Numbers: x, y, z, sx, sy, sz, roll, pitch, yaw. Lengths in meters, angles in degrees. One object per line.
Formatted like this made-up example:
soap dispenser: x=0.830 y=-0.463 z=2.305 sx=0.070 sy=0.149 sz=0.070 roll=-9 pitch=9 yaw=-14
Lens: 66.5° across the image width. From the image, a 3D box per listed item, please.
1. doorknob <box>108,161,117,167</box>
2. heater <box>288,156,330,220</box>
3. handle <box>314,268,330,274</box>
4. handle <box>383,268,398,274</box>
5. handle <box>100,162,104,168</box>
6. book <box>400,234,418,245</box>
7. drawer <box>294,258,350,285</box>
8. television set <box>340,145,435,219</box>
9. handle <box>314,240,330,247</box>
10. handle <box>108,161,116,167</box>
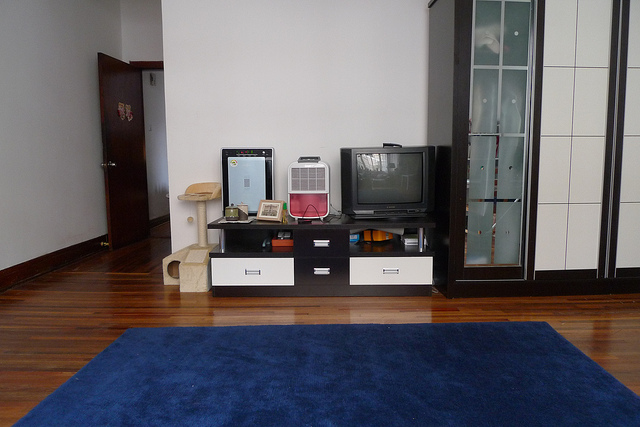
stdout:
doorknob: x=-2.769 y=-0.655 z=6.526 sx=0.039 sy=0.080 sz=0.147 roll=0 pitch=8 yaw=10
heater: x=-0.112 y=-0.278 z=5.252 sx=0.405 sy=0.649 sz=0.375 roll=4 pitch=8 yaw=4
handle: x=0.012 y=0.577 z=4.903 sx=0.089 sy=0.033 sz=0.066 roll=3 pitch=17 yaw=0
handle: x=0.700 y=0.577 z=4.900 sx=0.145 sy=0.061 sz=0.009 roll=-2 pitch=8 yaw=-2
handle: x=-2.895 y=-0.651 z=6.493 sx=0.038 sy=0.016 sz=0.052 roll=-1 pitch=2 yaw=0
book: x=0.937 y=0.277 z=5.151 sx=0.156 sy=0.079 sz=0.142 roll=-1 pitch=8 yaw=6
drawer: x=0.014 y=0.581 z=4.907 sx=0.530 sy=0.259 sz=0.055 roll=-1 pitch=8 yaw=5
television set: x=0.693 y=-0.315 z=5.032 sx=0.940 sy=0.718 sz=0.197 roll=-2 pitch=8 yaw=-2
handle: x=0.014 y=0.301 z=4.876 sx=0.154 sy=0.057 sz=0.054 roll=-1 pitch=13 yaw=-2
handle: x=-2.775 y=-0.655 z=6.504 sx=0.071 sy=0.030 sz=0.070 roll=8 pitch=15 yaw=-35
